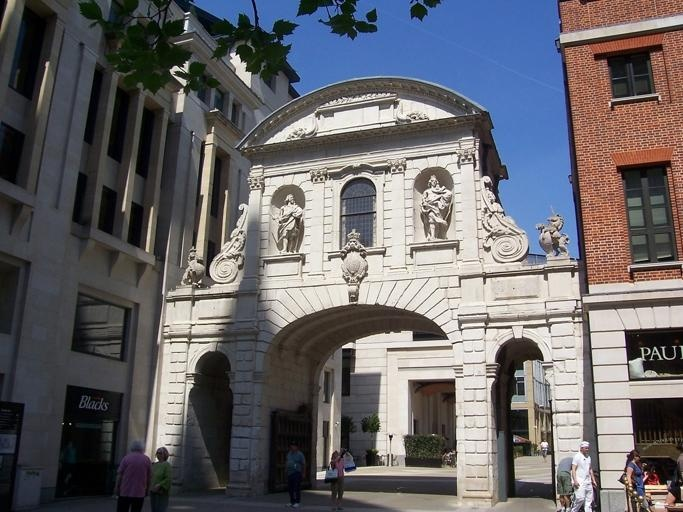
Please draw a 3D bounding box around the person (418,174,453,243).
[{"bbox_3d":[4.058,-2.047,25.952,1.343,2.816,0.698,-1,-19,7],"label":"person"}]

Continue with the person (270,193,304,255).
[{"bbox_3d":[-2.551,-1.425,28.071,1.520,2.820,0.768,-8,-21,25],"label":"person"}]

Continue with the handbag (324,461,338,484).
[{"bbox_3d":[-0.385,7.962,21.937,0.444,0.598,0.319,2,-19,-3],"label":"handbag"}]
